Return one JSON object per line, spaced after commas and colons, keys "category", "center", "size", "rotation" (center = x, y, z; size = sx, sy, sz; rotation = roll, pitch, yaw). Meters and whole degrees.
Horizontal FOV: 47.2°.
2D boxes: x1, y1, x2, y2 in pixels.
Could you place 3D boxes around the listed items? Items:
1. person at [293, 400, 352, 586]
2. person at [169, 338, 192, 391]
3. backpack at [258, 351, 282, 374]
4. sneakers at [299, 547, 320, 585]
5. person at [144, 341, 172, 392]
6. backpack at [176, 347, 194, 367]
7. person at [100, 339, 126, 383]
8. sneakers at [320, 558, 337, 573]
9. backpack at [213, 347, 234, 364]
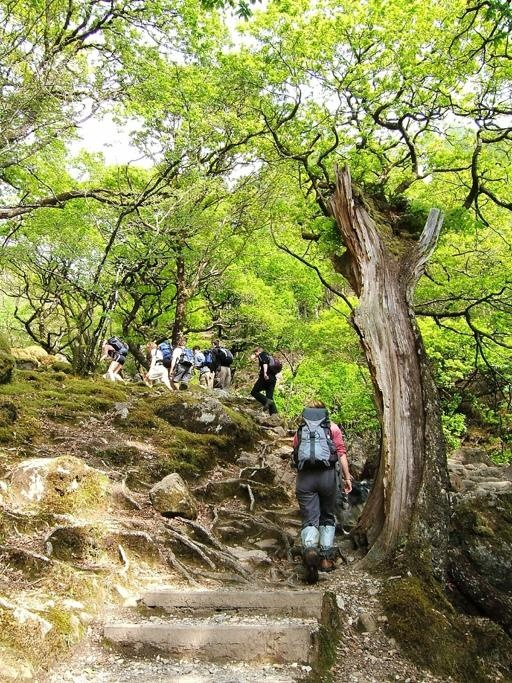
{"category": "person", "center": [0.658, 1.543, 6.158], "size": [0.610, 1.778, 0.853], "rotation": [5, -5, 12]}
{"category": "person", "center": [-1.801, 0.520, 14.277], "size": [0.515, 1.288, 0.681], "rotation": [7, -5, -8]}
{"category": "backpack", "center": [0.326, 0.493, 13.508], "size": [0.616, 0.532, 0.413], "rotation": [-1, 9, -2]}
{"category": "sneakers", "center": [0.538, 2.248, 5.820], "size": [0.163, 0.403, 0.199], "rotation": [-2, 11, 7]}
{"category": "person", "center": [-2.318, 0.558, 14.294], "size": [0.653, 1.094, 1.979], "rotation": [7, -5, -9]}
{"category": "backpack", "center": [-1.746, 0.381, 14.332], "size": [0.258, 0.411, 0.399], "rotation": [-16, -28, 33]}
{"category": "person", "center": [-3.812, 0.478, 15.657], "size": [0.943, 0.408, 1.412], "rotation": [24, -30, -3]}
{"category": "sneakers", "center": [0.764, 2.296, 6.012], "size": [0.229, 0.134, 0.111], "rotation": [9, -6, -43]}
{"category": "backpack", "center": [-0.810, 0.385, 15.662], "size": [0.546, 0.454, 0.375], "rotation": [-7, -3, 16]}
